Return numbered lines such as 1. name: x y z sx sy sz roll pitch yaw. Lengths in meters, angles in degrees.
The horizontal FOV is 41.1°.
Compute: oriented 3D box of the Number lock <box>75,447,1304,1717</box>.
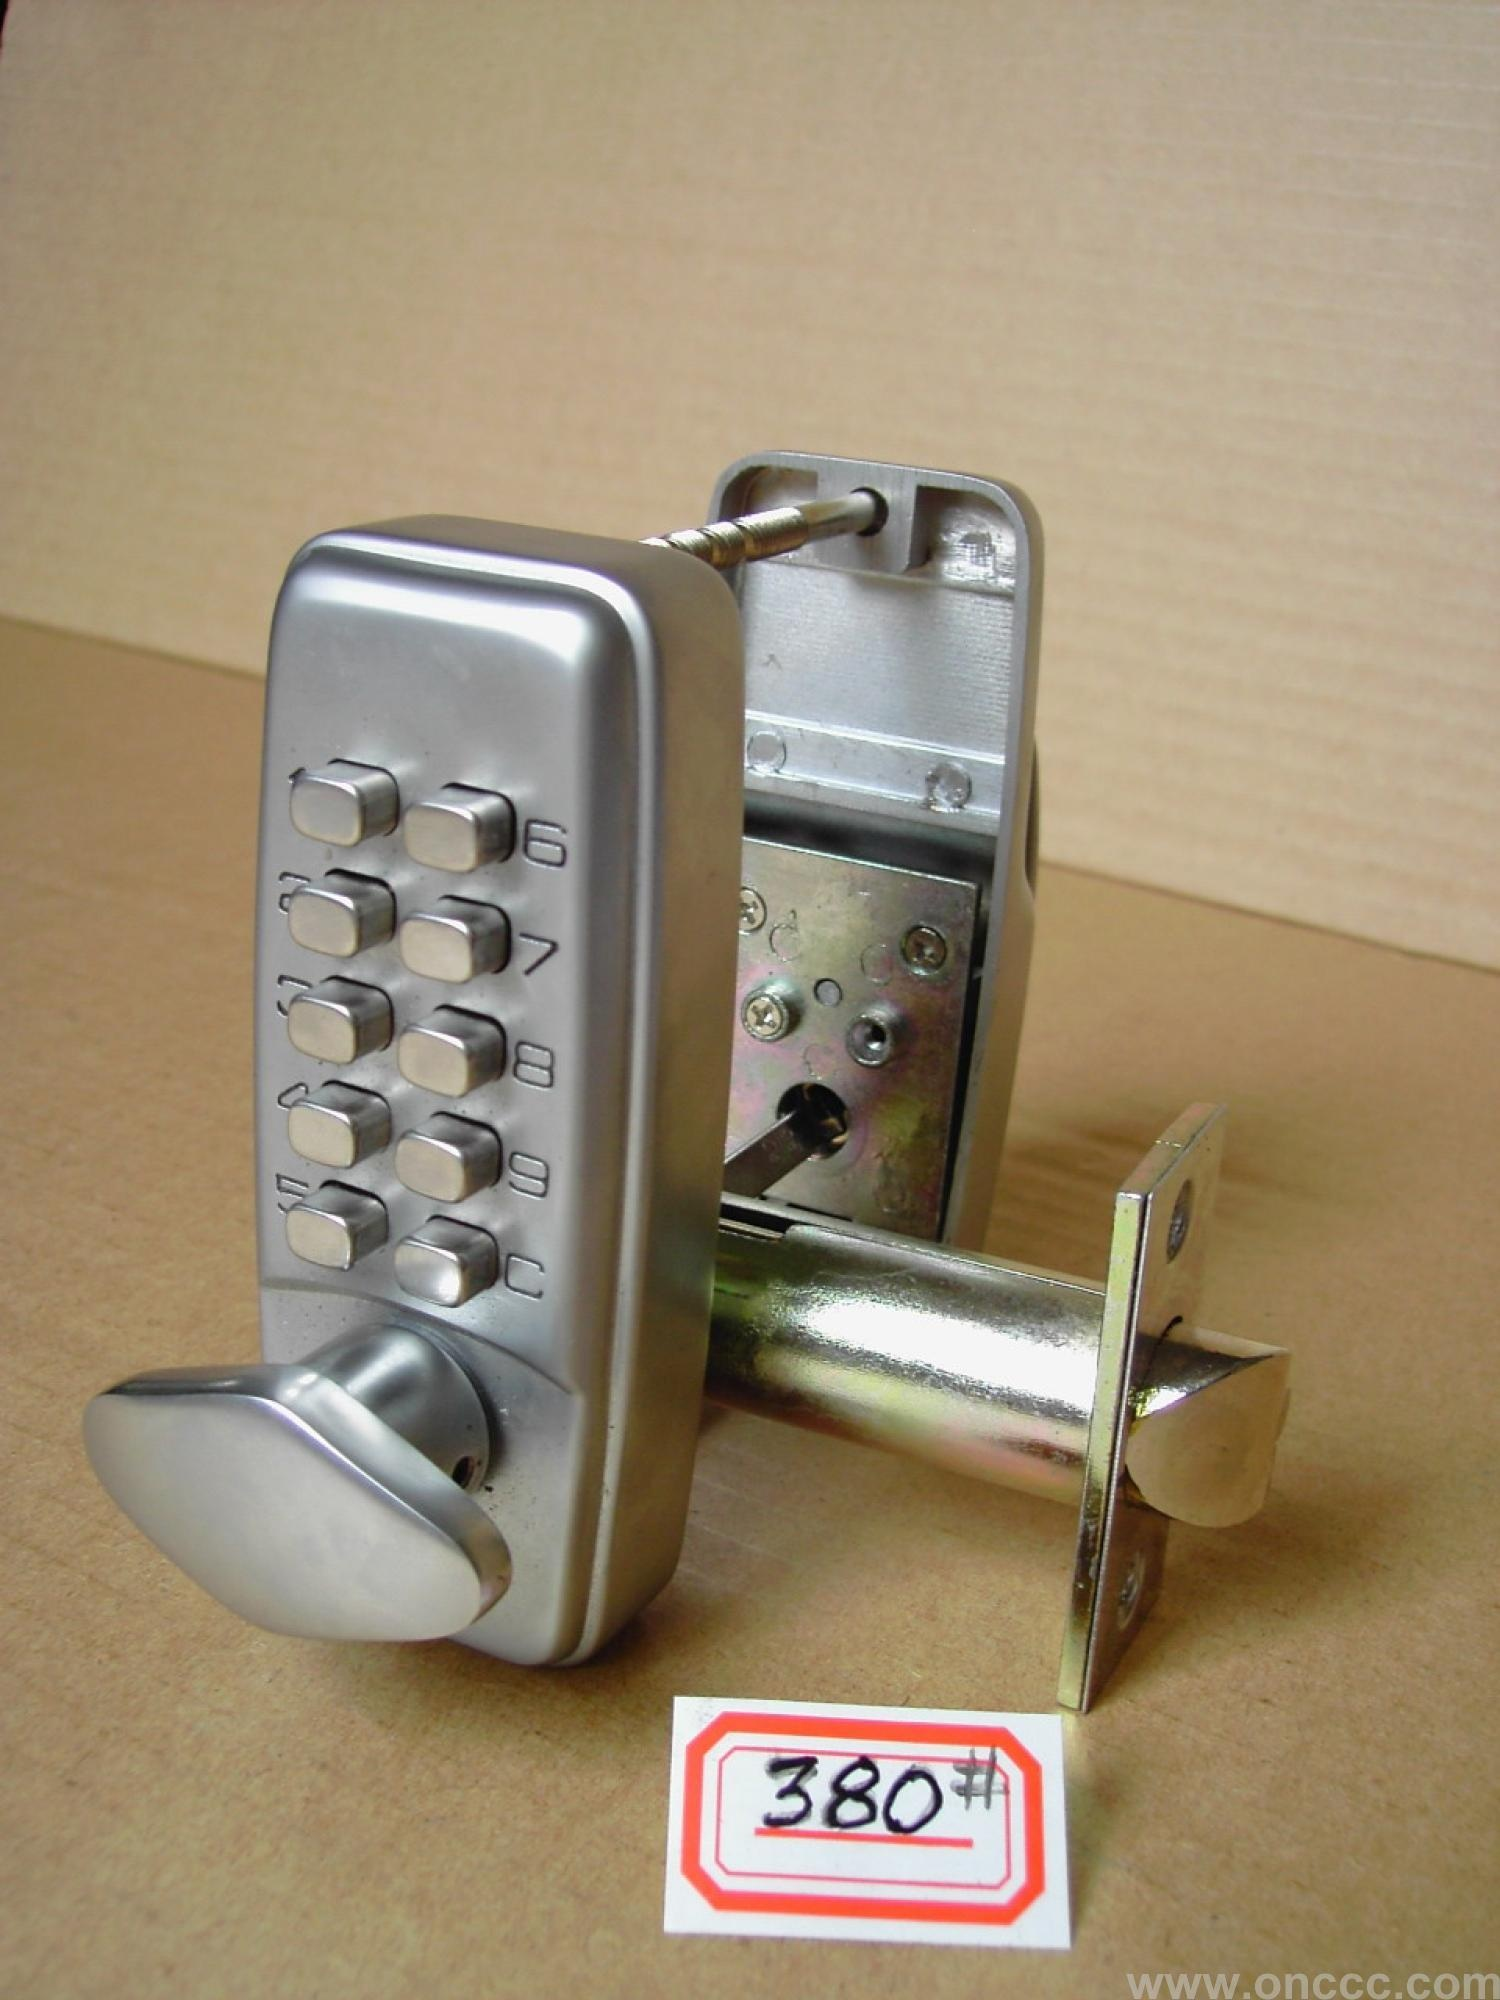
1. Number lock: 0.026 0.015 0.554 0.262 0.322 0.332 8 18 15
